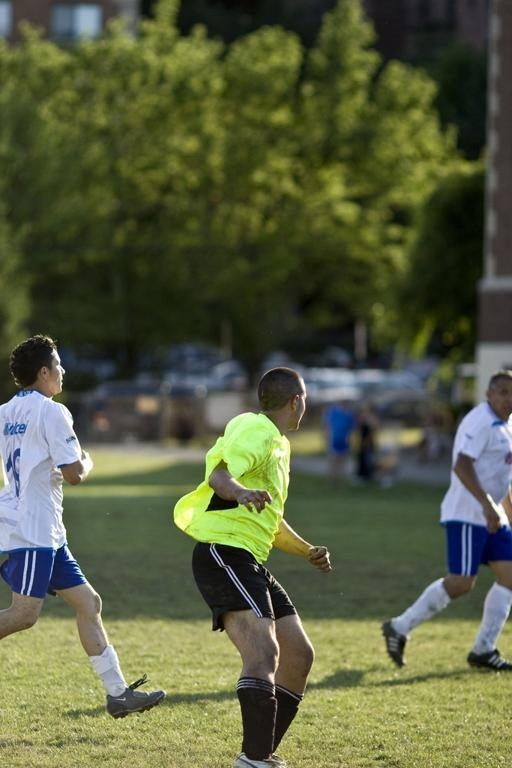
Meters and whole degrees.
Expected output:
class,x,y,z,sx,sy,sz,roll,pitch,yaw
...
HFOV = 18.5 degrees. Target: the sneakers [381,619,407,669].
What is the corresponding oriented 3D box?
class,x,y,z,sx,sy,sz,roll,pitch,yaw
sneakers,0.866,1.661,10.065,0.171,0.340,0.115,-8,4,14
